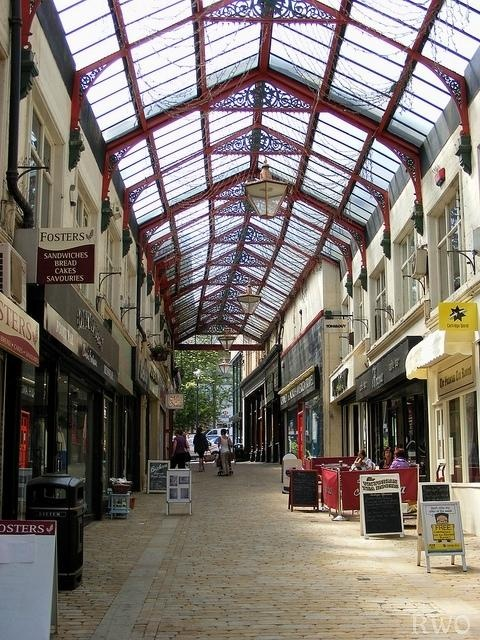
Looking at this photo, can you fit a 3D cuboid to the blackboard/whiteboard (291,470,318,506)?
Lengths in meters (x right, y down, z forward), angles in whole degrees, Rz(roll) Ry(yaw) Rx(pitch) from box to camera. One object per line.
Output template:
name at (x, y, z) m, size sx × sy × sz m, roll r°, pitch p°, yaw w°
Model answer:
blackboard/whiteboard at (1.464, 3.964, 13.394) m, size 0.678 × 0.864 × 0.326 m, roll 1°, pitch -14°, yaw -8°

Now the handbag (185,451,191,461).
handbag at (-1.809, 4.682, 19.608) m, size 0.128 × 0.255 × 0.606 m, roll 1°, pitch -18°, yaw -9°

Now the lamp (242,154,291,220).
lamp at (0.639, -3.082, 13.636) m, size 0.771 × 1.587 × 1.020 m, roll 1°, pitch 1°, yaw -5°

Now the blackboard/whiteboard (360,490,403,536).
blackboard/whiteboard at (2.164, 2.971, 8.805) m, size 0.478 × 0.792 × 0.535 m, roll -4°, pitch -7°, yaw -41°
